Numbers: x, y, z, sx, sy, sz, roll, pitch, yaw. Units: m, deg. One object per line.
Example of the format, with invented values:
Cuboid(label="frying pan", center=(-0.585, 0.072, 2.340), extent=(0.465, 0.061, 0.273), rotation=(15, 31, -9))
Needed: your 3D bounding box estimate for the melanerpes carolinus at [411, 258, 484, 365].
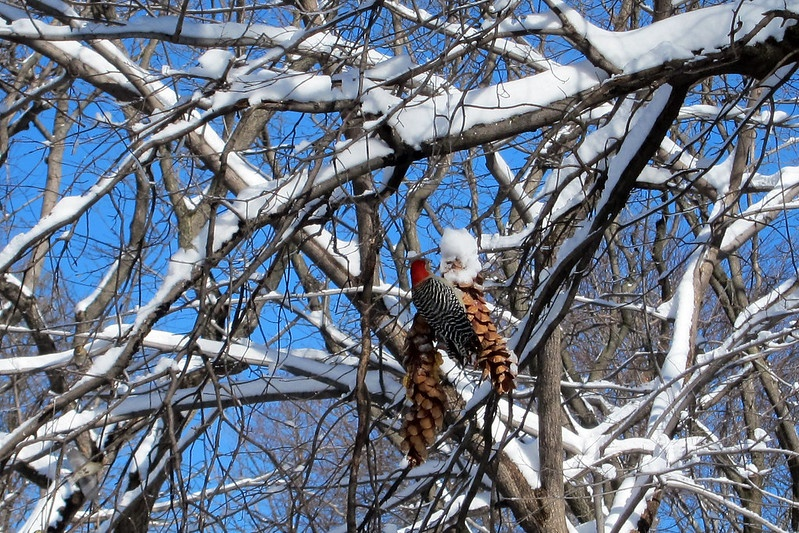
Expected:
Cuboid(label="melanerpes carolinus", center=(0.284, 0.282, 6.528), extent=(0.257, 0.982, 0.646), rotation=(0, -91, -11))
